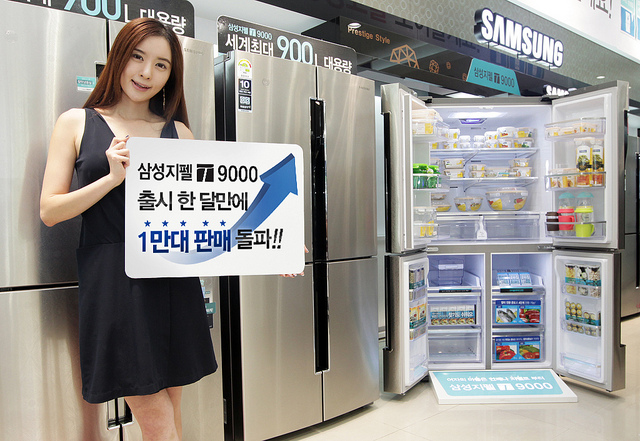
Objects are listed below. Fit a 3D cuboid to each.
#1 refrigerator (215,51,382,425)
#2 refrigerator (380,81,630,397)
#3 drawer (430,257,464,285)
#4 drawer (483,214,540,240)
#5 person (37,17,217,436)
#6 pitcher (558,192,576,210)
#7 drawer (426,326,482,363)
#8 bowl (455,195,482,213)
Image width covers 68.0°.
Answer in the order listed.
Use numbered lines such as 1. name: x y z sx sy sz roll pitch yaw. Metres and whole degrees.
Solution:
1. refrigerator: -0.070 0.154 3.179 1.181 2.425 0.460 -3 11 -25
2. refrigerator: 1.474 0.083 3.939 1.777 2.391 1.139 1 10 0
3. drawer: 1.141 0.467 4.243 0.260 0.217 0.254 1 2 7
4. drawer: 1.700 0.057 4.200 0.277 0.166 0.355 -1 -2 32
5. person: -0.854 0.047 2.103 0.646 1.890 0.523 -4 12 -30
6. pitcher: 2.031 -0.156 3.885 0.137 0.140 0.135 -3 6 -14
7. drawer: 1.195 1.018 4.170 0.458 0.267 0.320 1 -10 -7
8. bowl: 1.330 -0.138 4.246 0.172 0.096 0.170 -2 0 0
